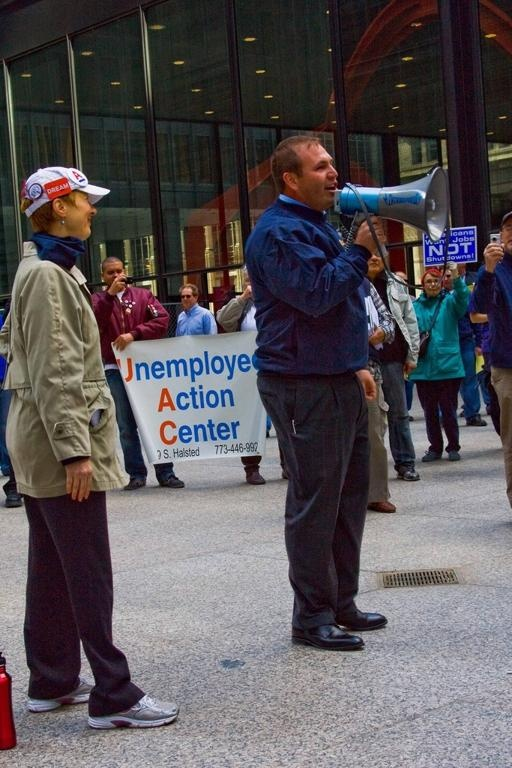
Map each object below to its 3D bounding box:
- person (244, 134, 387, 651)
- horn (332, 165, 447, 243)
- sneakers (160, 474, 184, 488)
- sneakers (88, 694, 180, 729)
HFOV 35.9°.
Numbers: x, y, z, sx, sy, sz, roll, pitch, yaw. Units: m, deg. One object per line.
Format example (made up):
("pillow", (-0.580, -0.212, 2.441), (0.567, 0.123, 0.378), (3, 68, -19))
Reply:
("person", (0.222, 0.025, 3.081), (0.743, 1.764, 0.733), (1, 13, -20))
("horn", (0.530, -0.650, 2.936), (0.340, 0.311, 0.324), (4, 8, 41))
("sneakers", (-0.835, 0.982, 7.984), (0.114, 0.117, 0.309), (1, -5, -37))
("sneakers", (-0.359, 0.956, 2.408), (0.281, 0.123, 0.102), (-4, -2, -6))
